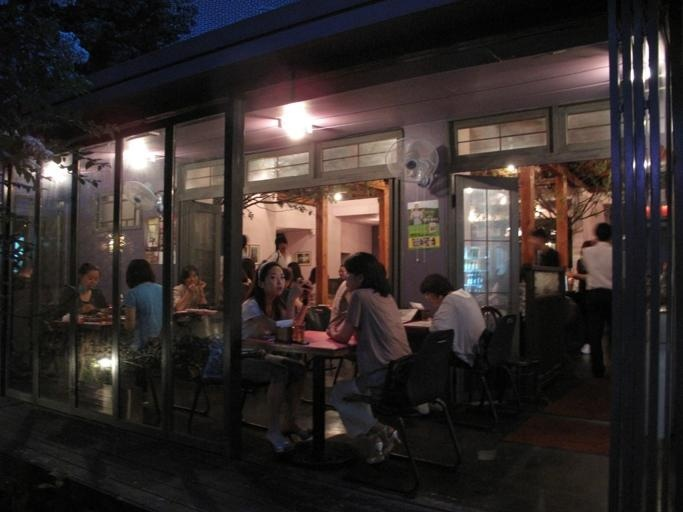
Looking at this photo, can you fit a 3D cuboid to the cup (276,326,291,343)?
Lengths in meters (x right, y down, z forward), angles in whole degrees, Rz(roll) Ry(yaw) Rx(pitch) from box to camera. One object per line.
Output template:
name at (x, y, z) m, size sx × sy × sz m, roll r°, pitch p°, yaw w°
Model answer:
cup at (-0.464, 0.638, 4.962) m, size 0.123 × 0.120 × 0.066 m, roll 1°, pitch 2°, yaw 34°

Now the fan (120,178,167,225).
fan at (-1.833, -0.532, 5.666) m, size 0.602 × 0.362 × 0.074 m, roll 2°, pitch 4°, yaw 41°

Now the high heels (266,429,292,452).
high heels at (-0.505, 1.520, 4.994) m, size 0.223 × 0.148 × 0.117 m, roll -7°, pitch -11°, yaw 39°

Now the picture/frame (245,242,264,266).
picture/frame at (-1.991, -0.089, 13.921) m, size 0.042 × 0.398 × 0.559 m, roll 3°, pitch -5°, yaw 19°
